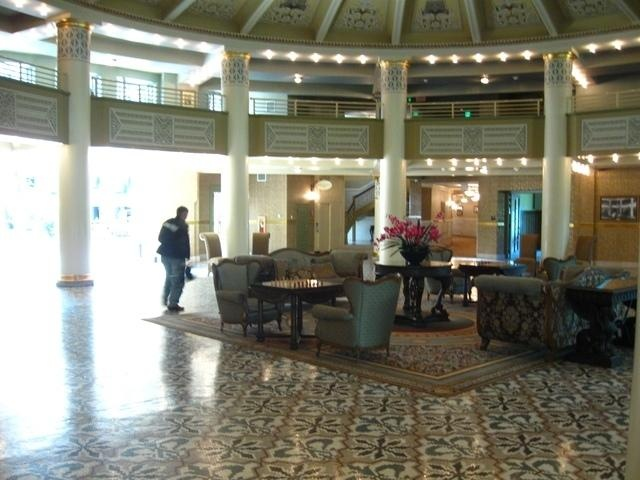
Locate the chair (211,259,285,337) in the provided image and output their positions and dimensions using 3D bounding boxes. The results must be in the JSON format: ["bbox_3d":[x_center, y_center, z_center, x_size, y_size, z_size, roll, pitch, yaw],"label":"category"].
[{"bbox_3d":[-1.193,0.871,7.924,0.921,1.111,0.971,-1,-1,42],"label":"chair"}]

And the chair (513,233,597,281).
[{"bbox_3d":[6.069,0.399,12.834,1.044,1.505,1.142,0,18,2],"label":"chair"}]

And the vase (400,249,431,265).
[{"bbox_3d":[1.631,0.302,8.671,0.463,0.273,0.482,0,4,-6],"label":"vase"}]

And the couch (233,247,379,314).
[{"bbox_3d":[-0.169,0.859,9.691,1.036,1.311,3.160,-1,3,33],"label":"couch"}]

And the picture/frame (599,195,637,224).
[{"bbox_3d":[10.701,-1.099,17.872,1.013,0.735,0.038,3,7,34],"label":"picture/frame"}]

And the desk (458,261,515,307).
[{"bbox_3d":[3.404,0.729,10.309,1.014,0.893,1.265,1,0,20],"label":"desk"}]

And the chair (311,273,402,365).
[{"bbox_3d":[0.500,0.960,6.583,1.052,1.092,0.997,0,2,-26],"label":"chair"}]

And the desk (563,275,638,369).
[{"bbox_3d":[3.608,1.043,6.484,0.943,1.004,0.612,-4,6,-41],"label":"desk"}]

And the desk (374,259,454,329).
[{"bbox_3d":[1.723,0.831,8.718,1.116,0.865,1.153,-5,7,-41],"label":"desk"}]

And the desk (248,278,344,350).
[{"bbox_3d":[-0.398,0.938,7.320,1.063,0.780,0.997,-2,7,-25],"label":"desk"}]
